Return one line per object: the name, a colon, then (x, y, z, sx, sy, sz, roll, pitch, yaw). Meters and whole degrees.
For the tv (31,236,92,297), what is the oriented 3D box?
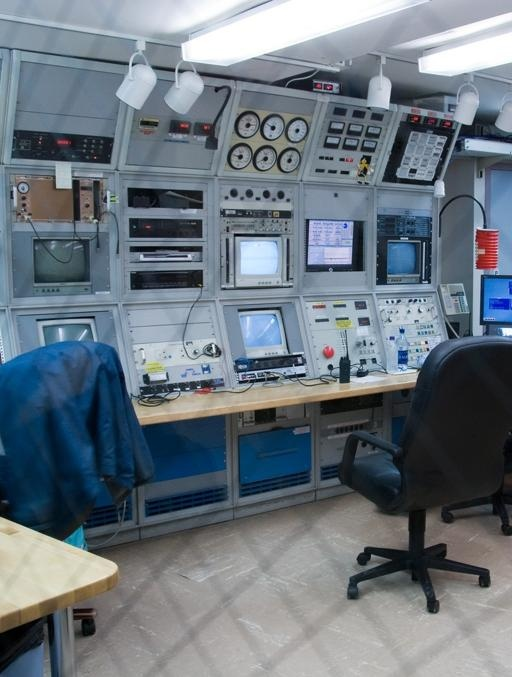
tv: (-1.111, -0.405, 2.976, 0.191, 0.301, 0.352, 8, 11, 39)

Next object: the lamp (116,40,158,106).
lamp: (-0.557, -1.285, 2.644, 0.163, 0.224, 0.234, -10, -33, -32)

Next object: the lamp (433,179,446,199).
lamp: (1.415, -1.162, 4.239, 0.081, 0.147, 0.227, 0, 2, 17)

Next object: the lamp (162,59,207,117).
lamp: (-0.376, -1.296, 2.777, 0.226, 0.216, 0.127, 17, 37, 4)

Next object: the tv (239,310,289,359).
tv: (0.099, -0.052, 3.565, 0.393, 0.349, 0.206, -5, 12, 36)

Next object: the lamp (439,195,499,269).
lamp: (1.771, -0.914, 4.560, 0.438, 0.716, 0.879, 0, 3, 20)

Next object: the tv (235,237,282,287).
tv: (-0.018, -0.517, 3.582, 0.352, 0.291, 0.187, -6, 15, -29)

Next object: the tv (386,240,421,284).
tv: (1.169, -0.612, 4.229, 0.286, 0.365, 0.223, 4, 16, 38)

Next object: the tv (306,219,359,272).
tv: (0.506, -0.639, 3.824, 0.693, 0.448, 0.069, -8, 13, -40)
